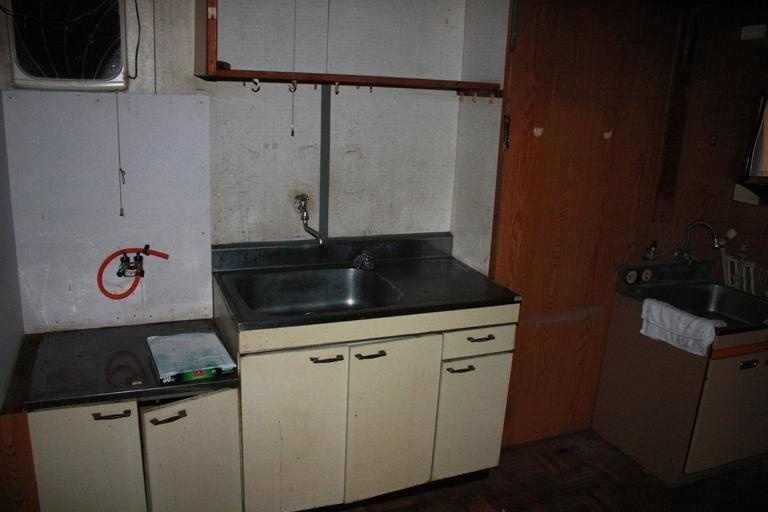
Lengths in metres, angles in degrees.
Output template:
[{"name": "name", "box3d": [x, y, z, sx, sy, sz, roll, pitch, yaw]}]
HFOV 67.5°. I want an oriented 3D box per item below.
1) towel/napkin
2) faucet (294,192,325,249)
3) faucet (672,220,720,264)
[{"name": "towel/napkin", "box3d": [1.747, 0.427, 3.421, 0.386, 0.128, 0.281, 20, 71, 47]}, {"name": "faucet", "box3d": [-0.460, -0.224, 3.465, 0.159, 0.297, 0.193, -4, 20, -11]}, {"name": "faucet", "box3d": [2.059, -0.105, 3.825, 0.334, 0.358, 0.103, 5, 45, 27]}]
